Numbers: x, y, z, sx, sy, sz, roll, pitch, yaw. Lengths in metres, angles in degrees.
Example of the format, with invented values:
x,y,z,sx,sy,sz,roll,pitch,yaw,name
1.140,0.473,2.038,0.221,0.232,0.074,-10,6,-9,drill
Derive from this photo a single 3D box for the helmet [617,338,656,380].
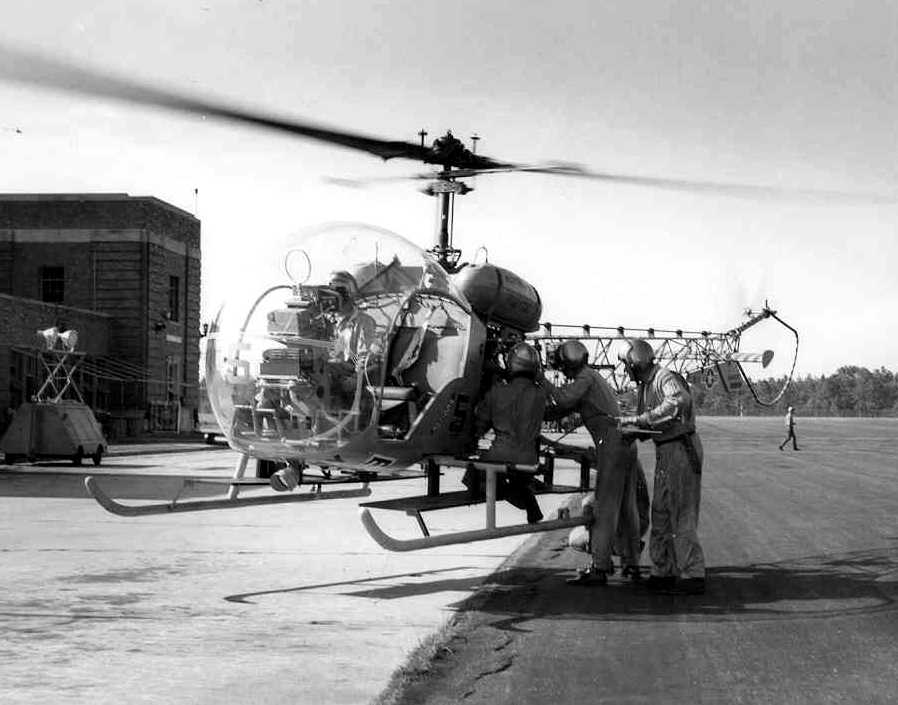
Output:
x,y,z,sx,sy,sz,roll,pitch,yaw,name
1.685,0.064,10.587,0.257,0.322,0.313,-20,42,-39,helmet

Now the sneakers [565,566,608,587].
x,y,z,sx,sy,sz,roll,pitch,yaw,name
1.257,2.069,10.985,0.416,0.161,0.145,1,-3,2,sneakers

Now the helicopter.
x,y,z,sx,sy,sz,roll,pitch,yaw,name
-1.720,0.517,17.440,9.710,3.196,9.378,5,-4,-44,helicopter
